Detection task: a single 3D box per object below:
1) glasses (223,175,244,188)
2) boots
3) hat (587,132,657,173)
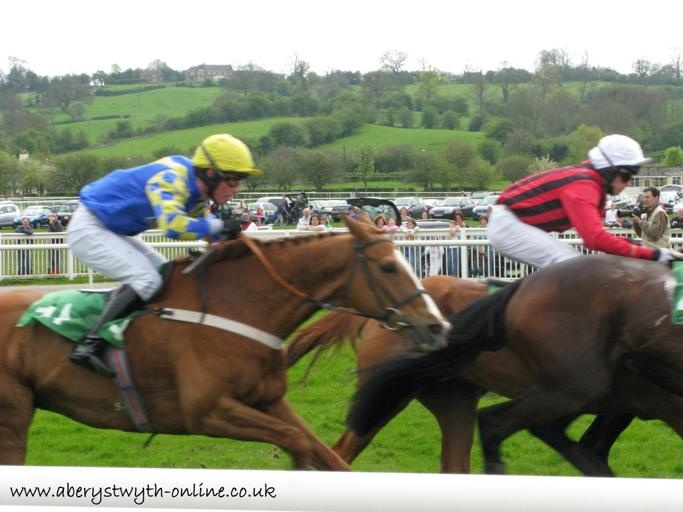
[{"bbox_3d":[-0.559,-0.382,4.912,0.058,0.039,0.076,-1,-9,-11],"label":"glasses"},{"bbox_3d":[-1.208,0.387,4.881,0.301,0.462,0.152,31,-21,-10],"label":"boots"},{"bbox_3d":[1.543,-0.577,5.314,0.279,0.139,0.182,-6,8,13],"label":"hat"}]
